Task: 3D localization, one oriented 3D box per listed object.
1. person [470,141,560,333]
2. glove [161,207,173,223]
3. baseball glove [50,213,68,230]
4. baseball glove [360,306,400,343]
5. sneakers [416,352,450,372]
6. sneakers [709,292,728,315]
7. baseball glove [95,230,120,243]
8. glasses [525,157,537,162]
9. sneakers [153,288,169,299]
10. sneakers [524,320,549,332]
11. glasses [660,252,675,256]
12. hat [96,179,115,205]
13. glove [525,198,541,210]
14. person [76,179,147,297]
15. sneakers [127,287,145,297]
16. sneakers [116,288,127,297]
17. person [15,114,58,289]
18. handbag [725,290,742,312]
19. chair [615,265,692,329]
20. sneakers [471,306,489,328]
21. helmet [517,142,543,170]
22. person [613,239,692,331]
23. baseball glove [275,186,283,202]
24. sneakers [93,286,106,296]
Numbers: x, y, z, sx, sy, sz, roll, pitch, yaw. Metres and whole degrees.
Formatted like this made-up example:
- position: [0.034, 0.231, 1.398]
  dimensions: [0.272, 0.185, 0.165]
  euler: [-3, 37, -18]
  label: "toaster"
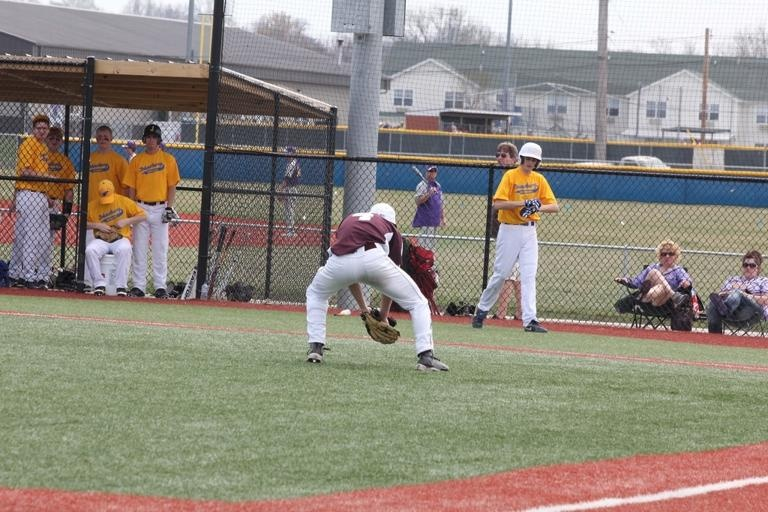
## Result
- position: [1.909, -0.261, 18.205]
  dimensions: [1.011, 2.660, 0.775]
  euler: [5, 12, 14]
  label: "person"
- position: [-3.309, -0.632, 19.474]
  dimensions: [0.168, 0.213, 0.116]
  euler: [0, -10, 16]
  label: "glove"
- position: [-5.088, -0.556, 19.907]
  dimensions: [0.260, 0.232, 0.196]
  euler: [-1, 6, -1]
  label: "baseball glove"
- position: [-0.056, 0.857, 15.509]
  dimensions: [0.467, 0.228, 0.336]
  euler: [37, 27, 14]
  label: "baseball glove"
- position: [0.558, 1.253, 15.508]
  dimensions: [0.487, 0.248, 0.177]
  euler: [1, 4, -13]
  label: "sneakers"
- position: [4.995, 0.685, 19.151]
  dimensions: [0.235, 0.333, 0.155]
  euler: [-6, -4, 37]
  label: "sneakers"
- position: [-4.221, -0.311, 19.454]
  dimensions: [0.254, 0.109, 0.205]
  euler: [-3, -3, 36]
  label: "baseball glove"
- position: [2.077, -1.347, 17.976]
  dimensions: [0.217, 0.080, 0.125]
  euler: [2, 12, 0]
  label: "glasses"
- position: [-3.431, 0.541, 19.579]
  dimensions: [0.242, 0.109, 0.105]
  euler: [3, 8, 21]
  label: "sneakers"
- position: [2.167, 0.969, 18.357]
  dimensions: [0.300, 0.127, 0.163]
  euler: [1, 2, 9]
  label: "sneakers"
- position: [4.209, -0.046, 18.997]
  dimensions: [0.197, 0.086, 0.032]
  euler: [8, 13, 27]
  label: "glasses"
- position: [-4.208, -0.983, 19.388]
  dimensions: [0.253, 0.358, 0.356]
  euler: [-2, 4, -5]
  label: "hat"
- position: [2.092, -0.723, 17.906]
  dimensions: [0.292, 0.164, 0.126]
  euler: [-4, 13, -27]
  label: "glove"
- position: [-4.119, -0.291, 19.435]
  dimensions: [0.825, 1.676, 0.439]
  euler: [-1, 12, -14]
  label: "person"
- position: [-3.799, 0.532, 19.591]
  dimensions: [0.258, 0.117, 0.109]
  euler: [10, 6, -12]
  label: "sneakers"
- position: [-3.998, 0.525, 19.463]
  dimensions: [0.159, 0.154, 0.096]
  euler: [-1, 6, -12]
  label: "sneakers"
- position: [-5.454, -0.835, 19.649]
  dimensions: [0.629, 2.588, 0.501]
  euler: [-1, 12, -16]
  label: "person"
- position: [5.185, 0.634, 19.020]
  dimensions: [0.224, 0.302, 0.119]
  euler: [5, 9, 27]
  label: "handbag"
- position: [4.048, 0.682, 19.293]
  dimensions: [0.969, 1.026, 1.007]
  euler: [0, -13, 34]
  label: "chair"
- position: [1.382, 0.788, 18.488]
  dimensions: [0.165, 0.391, 0.131]
  euler: [9, -29, 17]
  label: "sneakers"
- position: [2.068, -1.406, 18.175]
  dimensions: [0.297, 0.396, 0.535]
  euler: [3, 12, 4]
  label: "helmet"
- position: [4.241, 0.477, 20.242]
  dimensions: [0.934, 1.387, 1.210]
  euler: [19, -14, -39]
  label: "person"
- position: [-1.612, -0.953, 19.730]
  dimensions: [0.120, 0.245, 0.333]
  euler: [1, 12, -5]
  label: "baseball glove"
- position: [-4.326, 0.503, 19.435]
  dimensions: [0.192, 0.099, 0.085]
  euler: [2, -15, -10]
  label: "sneakers"
